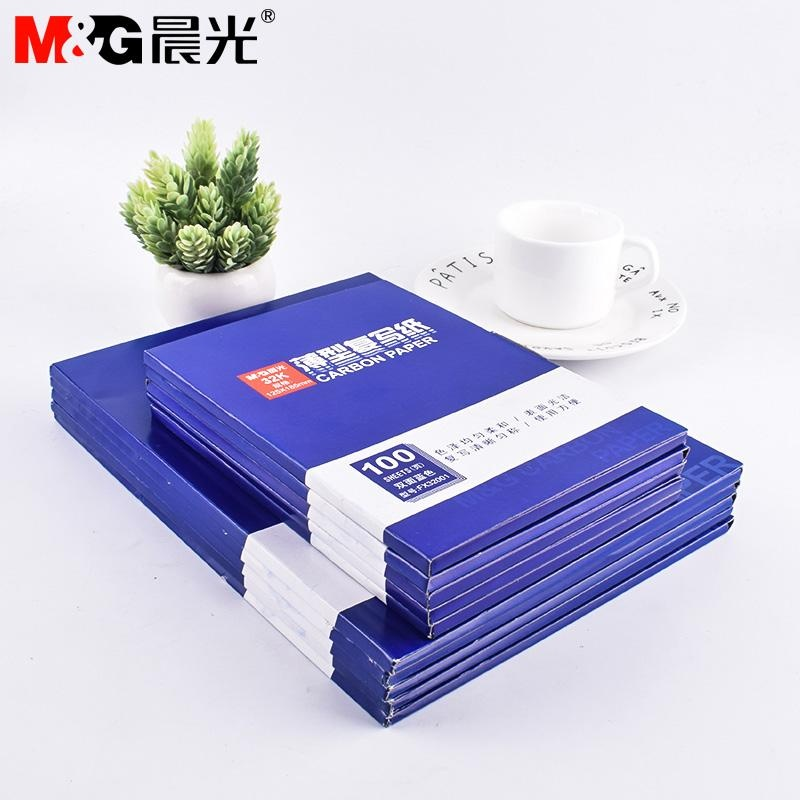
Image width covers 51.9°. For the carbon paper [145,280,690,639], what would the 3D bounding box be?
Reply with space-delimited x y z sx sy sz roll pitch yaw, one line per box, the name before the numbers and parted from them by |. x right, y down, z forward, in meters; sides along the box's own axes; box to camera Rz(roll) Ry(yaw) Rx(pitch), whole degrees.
carbon paper | -0.025 0.002 0.561 0.233 0.056 0.313 -23 39 -36

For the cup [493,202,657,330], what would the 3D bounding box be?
cup | 0.180 -0.128 0.865 0.221 0.111 0.142 4 34 12

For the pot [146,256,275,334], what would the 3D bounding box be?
pot | -0.180 -0.102 0.789 0.093 0.060 0.079 -1 34 -3
